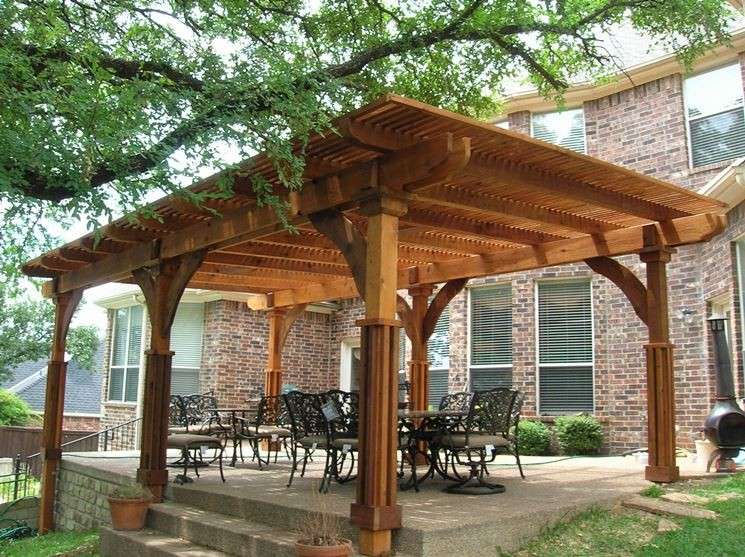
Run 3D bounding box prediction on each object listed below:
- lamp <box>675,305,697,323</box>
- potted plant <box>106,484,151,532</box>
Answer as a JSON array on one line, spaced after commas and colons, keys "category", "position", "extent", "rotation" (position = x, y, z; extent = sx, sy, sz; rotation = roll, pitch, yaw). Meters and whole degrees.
[{"category": "lamp", "position": [5.084, 0.578, 11.142], "extent": [0.079, 0.270, 0.313], "rotation": [8, -15, -33]}, {"category": "potted plant", "position": [-2.804, 2.641, 7.874], "extent": [0.501, 0.468, 0.355], "rotation": [6, -16, -30]}]
